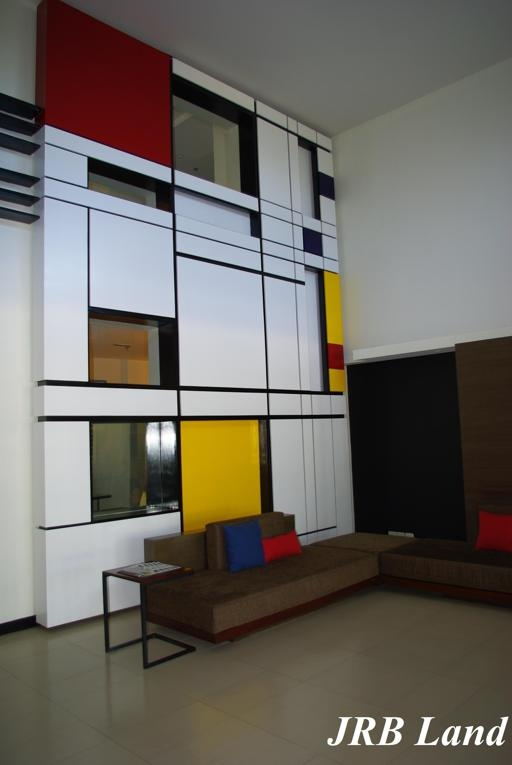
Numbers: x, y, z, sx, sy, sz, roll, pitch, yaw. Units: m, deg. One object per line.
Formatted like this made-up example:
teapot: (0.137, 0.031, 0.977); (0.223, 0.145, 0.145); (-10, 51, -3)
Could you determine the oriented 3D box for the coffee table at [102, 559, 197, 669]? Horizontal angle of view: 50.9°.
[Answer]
coffee table: (-0.726, 1.538, 3.654); (0.512, 0.593, 0.612); (-1, -3, -33)
